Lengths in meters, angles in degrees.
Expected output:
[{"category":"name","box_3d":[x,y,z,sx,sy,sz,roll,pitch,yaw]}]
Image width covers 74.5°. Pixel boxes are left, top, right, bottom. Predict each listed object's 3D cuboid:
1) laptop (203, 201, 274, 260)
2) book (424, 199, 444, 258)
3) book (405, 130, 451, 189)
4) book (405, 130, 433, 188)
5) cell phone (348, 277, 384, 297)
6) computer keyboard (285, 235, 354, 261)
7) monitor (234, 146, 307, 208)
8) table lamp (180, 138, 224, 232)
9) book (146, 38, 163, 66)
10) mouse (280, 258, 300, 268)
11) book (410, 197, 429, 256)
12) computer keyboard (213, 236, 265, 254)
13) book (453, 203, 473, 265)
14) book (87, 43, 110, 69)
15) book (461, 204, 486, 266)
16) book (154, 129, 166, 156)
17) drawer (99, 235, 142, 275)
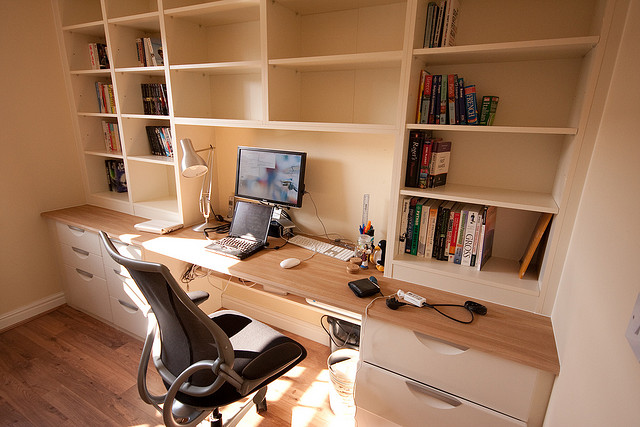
[{"category":"laptop","box_3d":[-0.584,0.100,3.020,0.453,0.274,0.466,2,18,14]},{"category":"book","box_3d":[0.730,0.099,2.690,0.044,0.400,0.348,10,9,21]},{"category":"book","box_3d":[0.667,-0.339,2.640,0.175,0.302,0.326,10,14,31]},{"category":"book","box_3d":[0.616,-0.342,2.621,0.115,0.346,0.335,5,-4,11]},{"category":"cell phone","box_3d":[0.287,0.454,2.561,0.165,0.055,0.166,-6,19,-28]},{"category":"computer keyboard","box_3d":[-0.005,0.243,3.057,0.540,0.031,0.154,14,20,33]},{"category":"monitor","box_3d":[-0.379,-0.277,3.121,0.578,0.403,0.063,11,19,23]},{"category":"table lamp","box_3d":[-0.879,-0.205,3.051,0.329,0.632,0.224,-4,9,-32]},{"category":"book","box_3d":[-1.283,-1.255,3.288,0.049,0.203,0.202,-7,19,-19]},{"category":"mouse","box_3d":[-0.198,0.321,2.797,0.066,0.023,0.080,16,24,42]},{"category":"book","box_3d":[0.645,0.075,2.716,0.038,0.386,0.311,12,17,22]},{"category":"computer keyboard","box_3d":[-0.590,0.218,3.027,0.313,0.028,0.180,13,20,31]},{"category":"book","box_3d":[0.887,0.131,2.642,0.071,0.297,0.300,11,7,20]},{"category":"book","box_3d":[-1.909,-1.349,3.618,0.124,0.202,0.216,7,25,13]},{"category":"book","box_3d":[1.026,0.145,2.802,0.147,0.364,0.422,10,9,34]},{"category":"book","box_3d":[-1.342,-0.591,3.530,0.040,0.169,0.171,-18,21,-33]},{"category":"drawer","box_3d":[-1.526,0.324,3.227,0.470,0.251,0.059,13,20,30]}]
